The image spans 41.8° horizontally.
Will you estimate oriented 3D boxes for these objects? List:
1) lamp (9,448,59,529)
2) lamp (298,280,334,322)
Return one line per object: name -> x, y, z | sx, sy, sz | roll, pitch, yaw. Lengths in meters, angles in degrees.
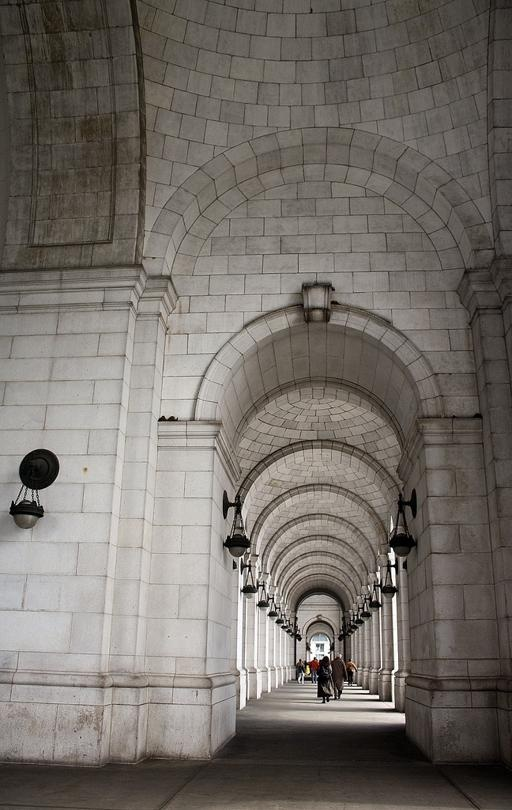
lamp -> -2.310, 0.846, 6.995 | 0.426, 0.931, 0.462 | 5, -25, -7
lamp -> 0.758, -1.265, 8.683 | 0.404, 0.609, 0.435 | -1, -19, 4
